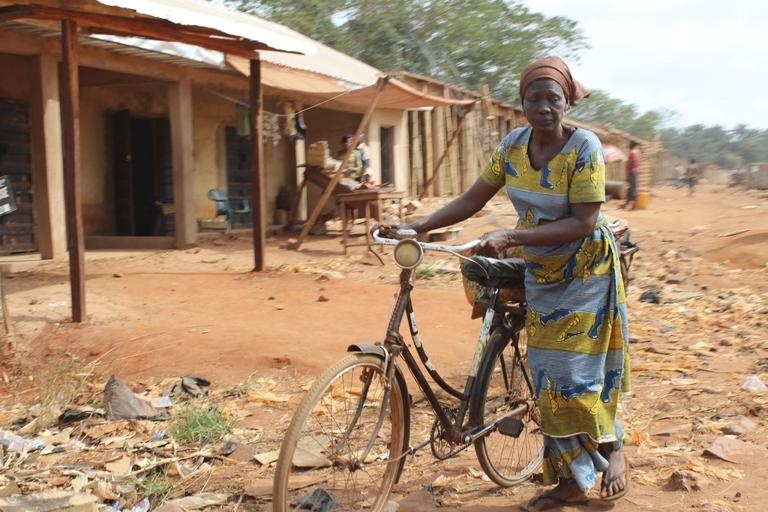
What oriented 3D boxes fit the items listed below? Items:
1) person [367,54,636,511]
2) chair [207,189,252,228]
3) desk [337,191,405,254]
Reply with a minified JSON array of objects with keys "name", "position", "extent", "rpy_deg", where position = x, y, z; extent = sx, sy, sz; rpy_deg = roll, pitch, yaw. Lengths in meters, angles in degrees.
[{"name":"person","position":[1.143,0.207,4.730],"extent":[1.284,3.172,0.673],"rpy_deg":[3,7,14]},{"name":"chair","position":[-4.185,-1.200,16.975],"extent":[1.223,0.865,1.152],"rpy_deg":[1,7,14]},{"name":"desk","position":[-0.300,-0.617,13.813],"extent":[1.536,1.183,1.558],"rpy_deg":[-4,1,8]}]
